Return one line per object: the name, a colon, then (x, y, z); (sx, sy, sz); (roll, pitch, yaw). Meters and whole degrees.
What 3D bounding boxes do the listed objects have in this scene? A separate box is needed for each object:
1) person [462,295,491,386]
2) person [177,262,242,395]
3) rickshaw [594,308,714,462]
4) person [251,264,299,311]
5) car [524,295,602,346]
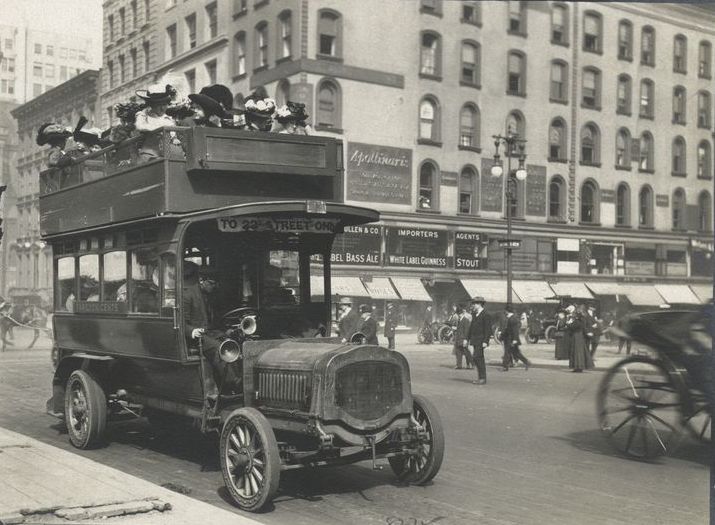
person: (3.168, 1.990, 27.036); (0.575, 2.145, 0.759); (6, -9, -37)
person: (-2.285, 1.083, 16.742); (0.812, 2.219, 0.848); (0, 0, 44)
rickshaw: (5.246, 2.049, 18.060); (2.396, 2.343, 1.742); (-1, -8, 18)
person: (-1.428, 0.594, 18.224); (1.058, 1.042, 0.636); (4, -6, -44)
car: (7.618, 2.199, 41.821); (3.472, 2.145, 1.680); (4, -5, -29)
